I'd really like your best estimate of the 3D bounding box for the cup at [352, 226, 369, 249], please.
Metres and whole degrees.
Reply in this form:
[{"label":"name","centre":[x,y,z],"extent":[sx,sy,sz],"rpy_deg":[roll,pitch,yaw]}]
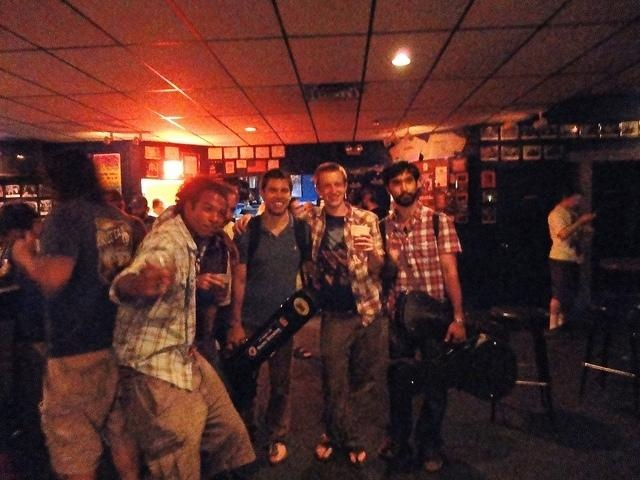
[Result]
[{"label":"cup","centre":[0.319,-0.023,3.906],"extent":[0.160,0.168,0.156],"rpy_deg":[0,-7,0]}]
